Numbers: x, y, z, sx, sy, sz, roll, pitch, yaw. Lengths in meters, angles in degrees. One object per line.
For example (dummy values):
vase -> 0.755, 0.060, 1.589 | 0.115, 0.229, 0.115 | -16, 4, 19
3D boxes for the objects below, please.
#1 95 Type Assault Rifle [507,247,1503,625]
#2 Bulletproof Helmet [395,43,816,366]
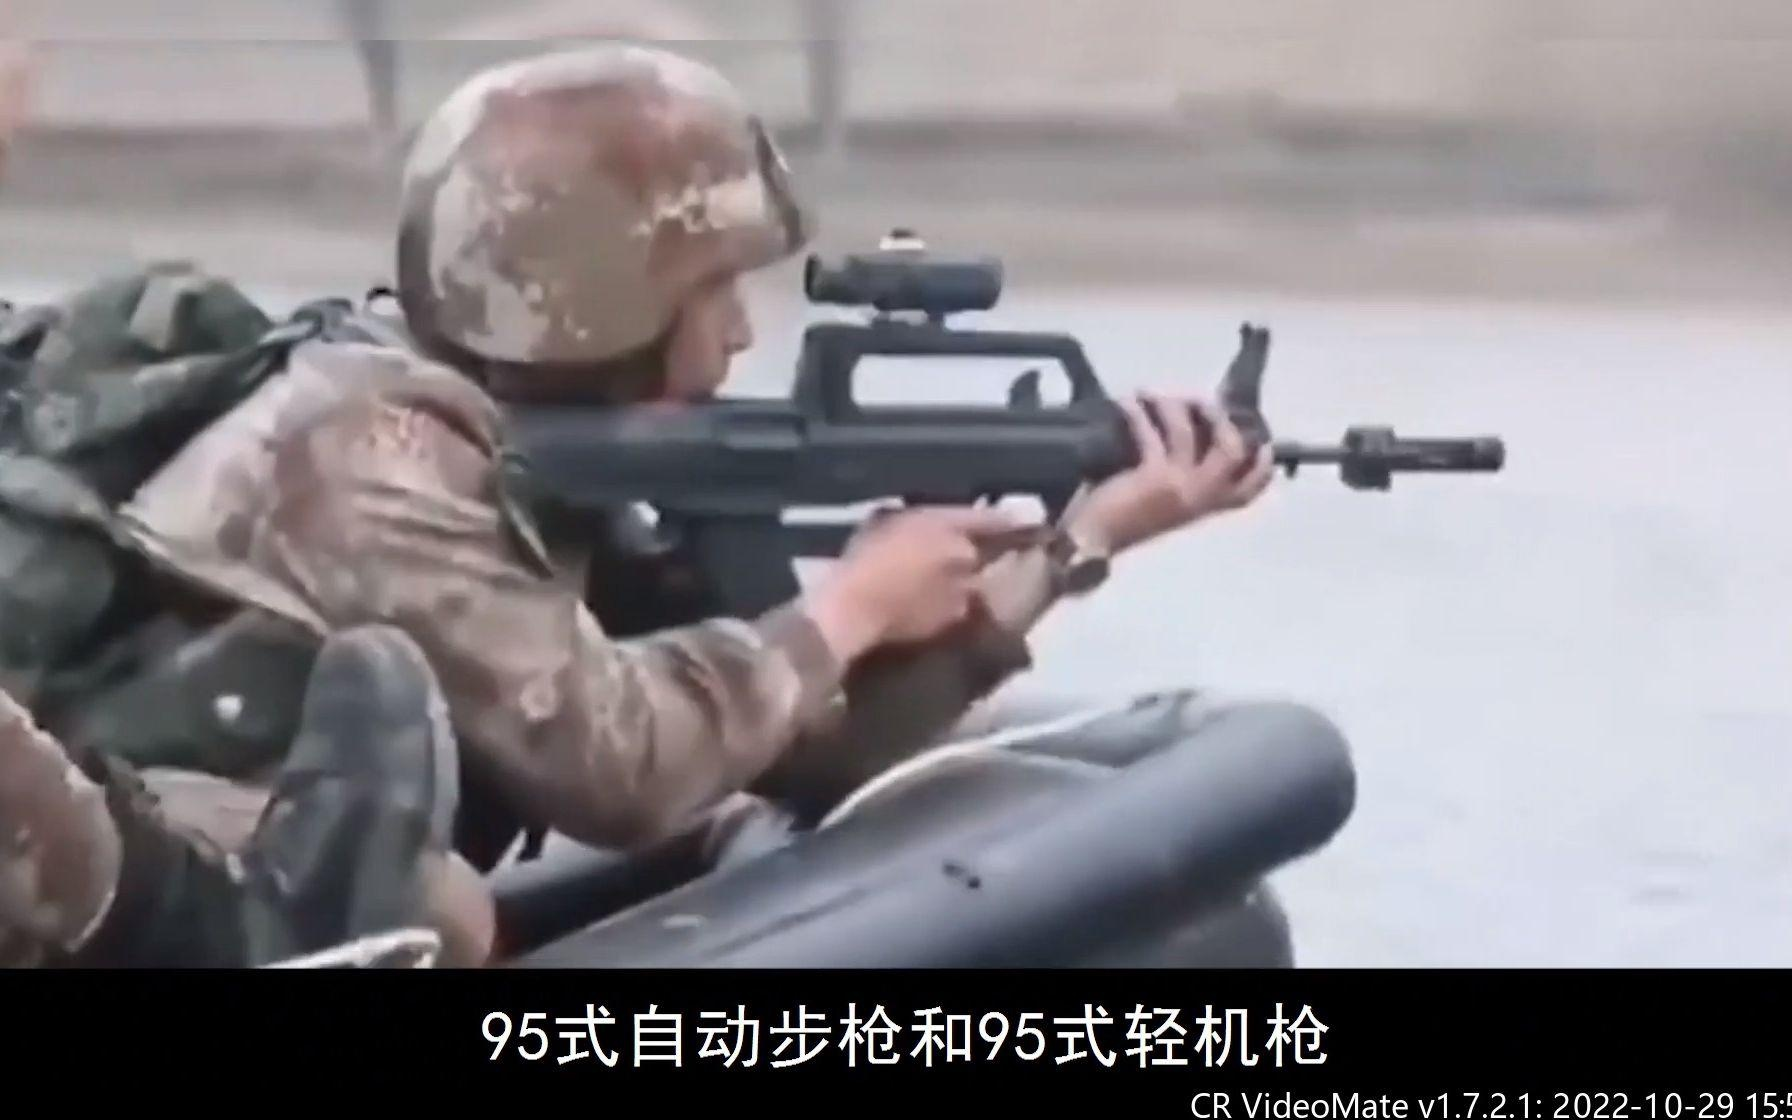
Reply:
95 Type Assault Rifle -> 0.151, -0.122, 4.217 | 1.669, 0.709, 0.216 | 1, 5, 21
Bulletproof Helmet -> -0.408, -0.592, 4.461 | 0.761, 0.530, 0.522 | 0, 20, 7
